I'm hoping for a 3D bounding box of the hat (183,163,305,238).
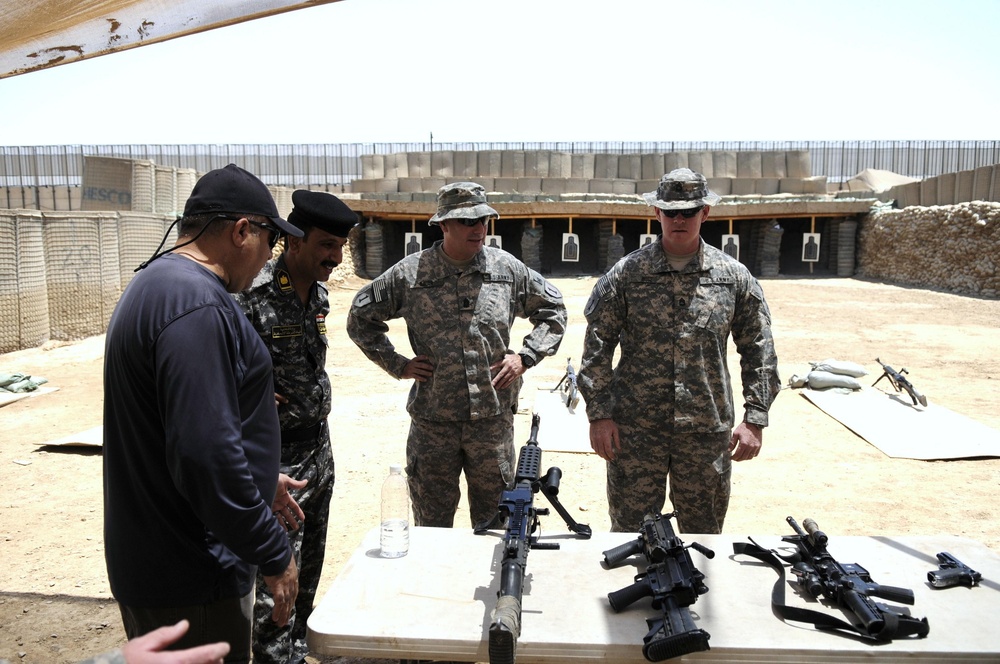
[{"bbox_3d":[-1.107,-0.567,3.649,0.386,0.227,0.250,2,4,-29],"label":"hat"}]

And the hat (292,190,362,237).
[{"bbox_3d":[-0.905,-0.644,4.384,0.294,0.116,0.249,29,24,32],"label":"hat"}]

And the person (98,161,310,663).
[{"bbox_3d":[-1.230,0.352,3.487,0.749,2.084,0.479,0,6,-19],"label":"person"}]

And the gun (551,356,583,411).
[{"bbox_3d":[0.701,0.543,8.810,0.266,0.298,0.606,-1,6,-5],"label":"gun"}]

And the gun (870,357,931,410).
[{"bbox_3d":[4.363,0.500,9.115,0.312,0.418,0.920,-17,27,2],"label":"gun"}]

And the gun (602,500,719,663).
[{"bbox_3d":[0.657,1.058,3.638,0.353,0.317,0.587,-5,19,-9],"label":"gun"}]

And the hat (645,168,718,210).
[{"bbox_3d":[1.039,-0.779,4.710,0.374,0.227,0.219,1,6,-3],"label":"hat"}]

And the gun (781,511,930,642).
[{"bbox_3d":[1.463,1.070,3.762,0.325,0.216,0.816,12,17,-19],"label":"gun"}]

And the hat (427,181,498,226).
[{"bbox_3d":[-0.218,-0.779,5.081,0.346,0.267,0.413,1,6,-4],"label":"hat"}]

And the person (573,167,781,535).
[{"bbox_3d":[1.002,0.116,4.769,1.085,2.052,0.573,3,6,14],"label":"person"}]
